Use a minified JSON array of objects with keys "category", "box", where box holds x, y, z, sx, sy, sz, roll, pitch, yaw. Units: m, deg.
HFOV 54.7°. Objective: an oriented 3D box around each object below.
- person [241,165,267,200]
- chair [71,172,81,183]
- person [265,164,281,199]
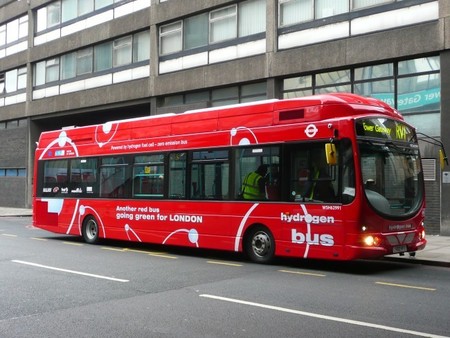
[{"category":"person","box":[0.813,0.355,11.673,0.409,0.877,0.694,3,4,-34]},{"category":"chair","box":[-5.598,0.340,16.323,0.349,0.270,0.373,1,-2,34]},{"category":"person","box":[1.256,0.335,11.351,0.102,0.905,0.431,0,0,-44]}]
